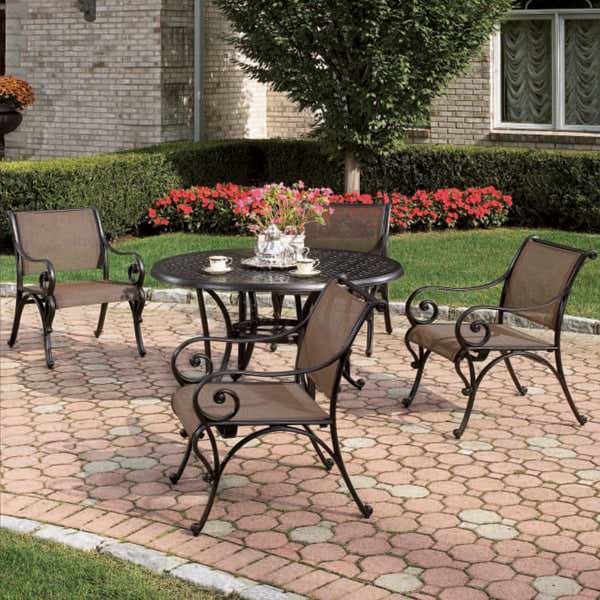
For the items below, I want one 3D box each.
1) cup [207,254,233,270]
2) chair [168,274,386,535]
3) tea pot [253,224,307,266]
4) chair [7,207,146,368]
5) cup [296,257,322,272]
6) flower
[{"bbox_3d":[-0.527,-0.237,5.162,0.171,0.066,0.109,1,2,21],"label":"cup"},{"bbox_3d":[-0.159,0.436,3.800,1.082,0.951,0.854,-9,14,-27],"label":"chair"},{"bbox_3d":[-0.108,-0.356,5.475,0.388,0.240,0.261,1,5,2],"label":"tea pot"},{"bbox_3d":[-1.904,-0.183,6.793,1.142,1.128,1.317,-2,11,-11],"label":"chair"},{"bbox_3d":[0.062,-0.219,5.094,0.164,0.060,0.101,0,0,-1],"label":"cup"},{"bbox_3d":[-0.013,-0.684,6.341,0.413,0.254,0.402,12,-2,1],"label":"flower"}]
